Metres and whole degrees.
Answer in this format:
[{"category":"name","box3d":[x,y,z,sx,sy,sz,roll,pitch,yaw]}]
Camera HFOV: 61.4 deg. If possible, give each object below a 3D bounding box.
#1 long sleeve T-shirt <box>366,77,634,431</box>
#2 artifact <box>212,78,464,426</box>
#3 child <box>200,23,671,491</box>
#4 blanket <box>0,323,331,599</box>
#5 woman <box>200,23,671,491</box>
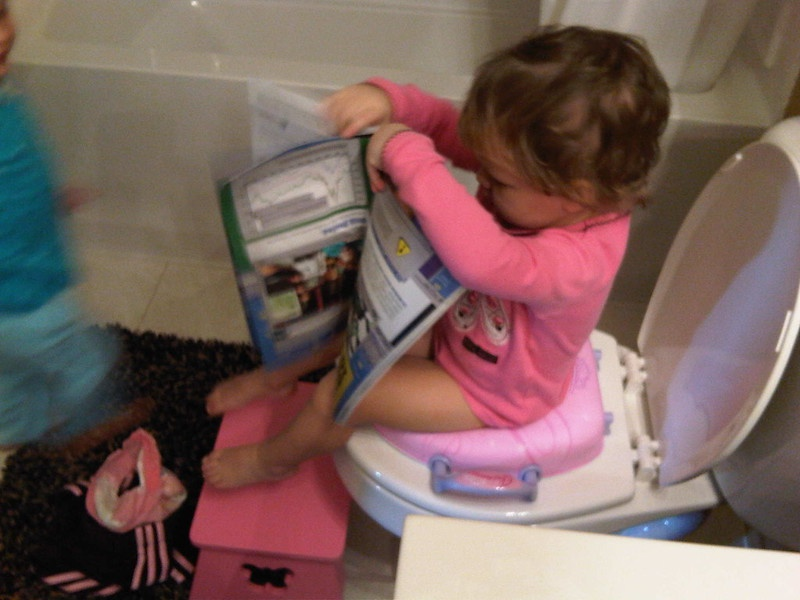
[{"category":"long sleeve T-shirt","box3d":[0.147,-0.133,1.141,0.454,0.588,0.486,4,57,2]},{"category":"artifact","box3d":[-0.055,-0.046,1.009,0.306,0.226,0.366,-4,70,9]},{"category":"child","box3d":[0.021,-0.034,1.090,0.600,0.800,0.454,0,46,-13]},{"category":"blanket","box3d":[-0.463,0.250,1.379,0.443,0.136,0.489,2,85,-6]},{"category":"woman","box3d":[0.024,-0.042,1.097,0.583,0.821,0.438,-1,46,-14]}]
